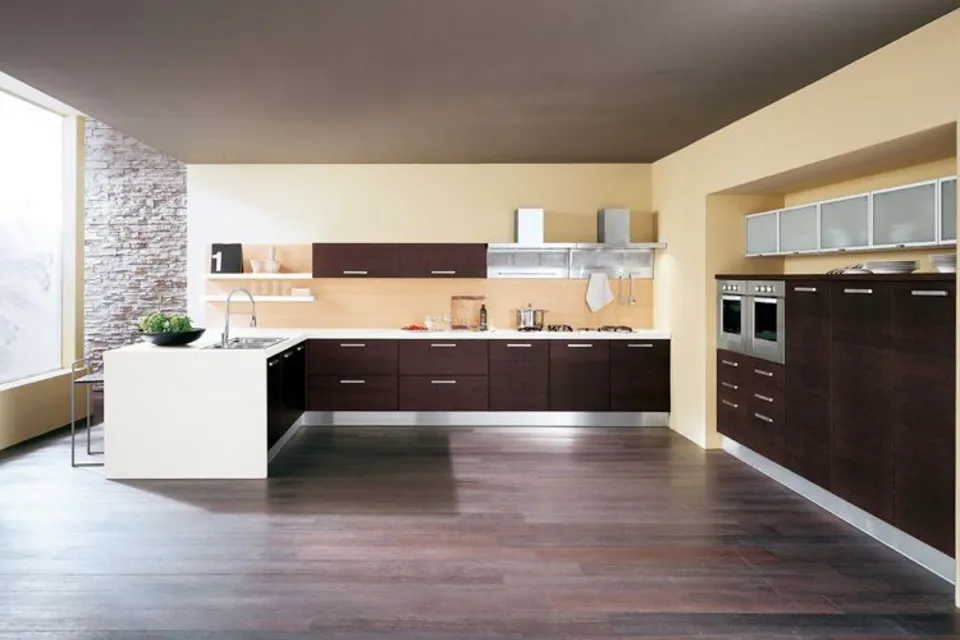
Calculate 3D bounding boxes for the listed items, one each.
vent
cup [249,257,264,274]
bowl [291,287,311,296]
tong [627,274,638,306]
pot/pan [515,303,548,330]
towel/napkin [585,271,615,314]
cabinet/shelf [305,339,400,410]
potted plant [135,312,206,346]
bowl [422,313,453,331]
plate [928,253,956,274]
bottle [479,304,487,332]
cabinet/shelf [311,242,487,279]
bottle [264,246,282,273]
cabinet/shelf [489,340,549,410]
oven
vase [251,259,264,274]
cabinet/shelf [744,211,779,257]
[{"bbox_3d":[1.056,-0.852,7.808,1.936,0.784,0.406,0,6,1],"label":"vent"},{"bbox_3d":[-2.514,-0.620,7.854,0.182,0.141,0.160,1,-4,-15],"label":"cup"},{"bbox_3d":[-2.016,-0.319,7.877,0.233,0.089,0.187,-2,6,-18],"label":"bowl"},{"bbox_3d":[1.770,-0.351,8.032,0.091,0.348,0.049,0,6,4],"label":"tong"},{"bbox_3d":[0.586,-0.018,7.938,0.443,0.269,0.271,0,-6,2],"label":"pot/pan"},{"bbox_3d":[1.352,-0.312,7.939,0.387,0.397,0.437,-2,9,5],"label":"towel/napkin"},{"bbox_3d":[-1.339,0.599,7.720,1.415,0.848,0.730,0,-5,-2],"label":"cabinet/shelf"},{"bbox_3d":[-2.757,0.083,6.202,0.430,0.189,0.373,3,-3,-25],"label":"potted plant"},{"bbox_3d":[-0.460,0.025,7.870,0.275,0.154,0.201,1,-5,-12],"label":"bowl"},{"bbox_3d":[3.144,-0.382,4.668,0.132,0.123,0.293,0,6,5],"label":"plate"},{"bbox_3d":[0.048,-0.039,7.931,0.108,0.280,0.255,0,6,0],"label":"bottle"},{"bbox_3d":[-0.890,-0.669,7.729,1.900,0.363,0.240,0,6,5],"label":"cabinet/shelf"},{"bbox_3d":[-2.359,-0.692,7.891,0.173,0.308,0.177,0,6,0],"label":"bottle"},{"bbox_3d":[0.429,0.613,7.880,0.924,0.885,0.714,0,-3,2],"label":"cabinet/shelf"},{"bbox_3d":[2.424,0.014,6.158,0.380,0.689,0.873,2,-1,-2],"label":"oven"},{"bbox_3d":[-2.536,-0.615,7.862,0.149,0.158,0.161,-1,6,-11],"label":"vase"},{"bbox_3d":[2.618,-0.793,6.401,0.184,0.382,0.460,2,-4,-12],"label":"cabinet/shelf"}]
